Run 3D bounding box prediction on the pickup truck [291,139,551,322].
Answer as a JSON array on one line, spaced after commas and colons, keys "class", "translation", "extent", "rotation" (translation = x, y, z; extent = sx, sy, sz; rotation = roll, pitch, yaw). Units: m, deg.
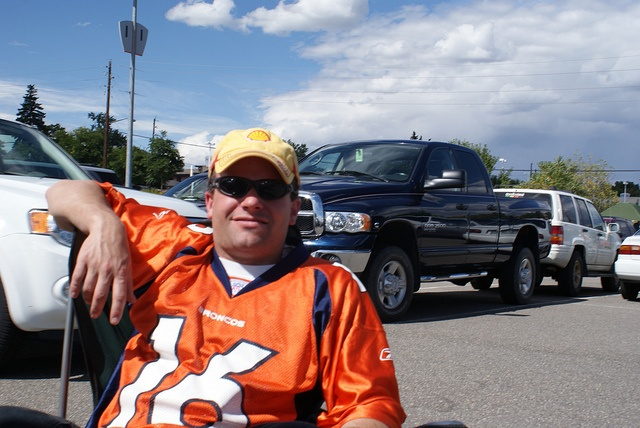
[{"class": "pickup truck", "translation": [1.478, 0.237, 8.165], "extent": [6.185, 2.144, 3.586], "rotation": [3, 0, -42]}]
